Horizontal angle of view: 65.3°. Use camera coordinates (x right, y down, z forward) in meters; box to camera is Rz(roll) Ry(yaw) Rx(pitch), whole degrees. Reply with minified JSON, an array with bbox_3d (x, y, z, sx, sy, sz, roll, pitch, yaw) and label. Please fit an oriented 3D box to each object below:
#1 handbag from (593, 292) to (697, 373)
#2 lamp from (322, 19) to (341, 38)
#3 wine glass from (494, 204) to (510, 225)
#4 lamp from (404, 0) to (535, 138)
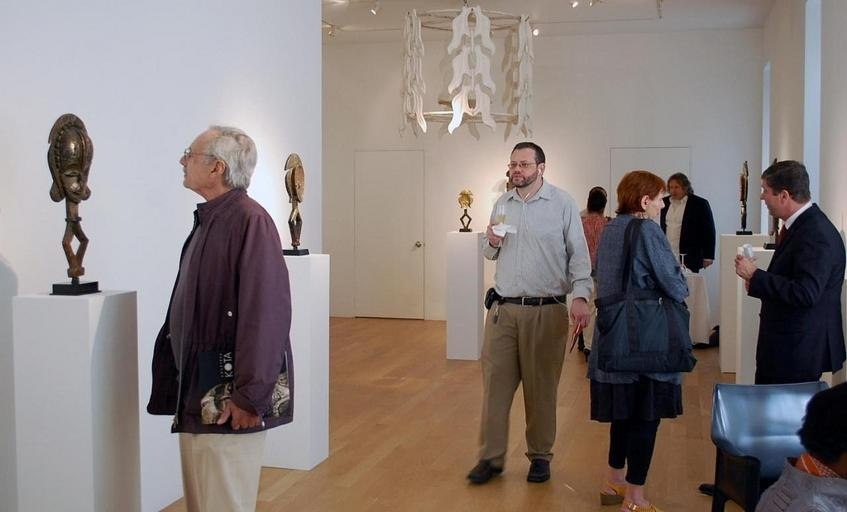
[{"bbox_3d":[1.492,0.525,4.510,0.546,0.540,0.219,0,2,5],"label":"handbag"},{"bbox_3d":[-1.496,-3.626,10.607,0.318,0.142,0.417,1,-7,-5],"label":"lamp"},{"bbox_3d":[0.603,-0.319,5.051,0.122,0.194,0.129,-1,-1,-16],"label":"wine glass"},{"bbox_3d":[0.597,-2.423,8.311,1.447,1.920,3.232,0,7,8],"label":"lamp"}]
